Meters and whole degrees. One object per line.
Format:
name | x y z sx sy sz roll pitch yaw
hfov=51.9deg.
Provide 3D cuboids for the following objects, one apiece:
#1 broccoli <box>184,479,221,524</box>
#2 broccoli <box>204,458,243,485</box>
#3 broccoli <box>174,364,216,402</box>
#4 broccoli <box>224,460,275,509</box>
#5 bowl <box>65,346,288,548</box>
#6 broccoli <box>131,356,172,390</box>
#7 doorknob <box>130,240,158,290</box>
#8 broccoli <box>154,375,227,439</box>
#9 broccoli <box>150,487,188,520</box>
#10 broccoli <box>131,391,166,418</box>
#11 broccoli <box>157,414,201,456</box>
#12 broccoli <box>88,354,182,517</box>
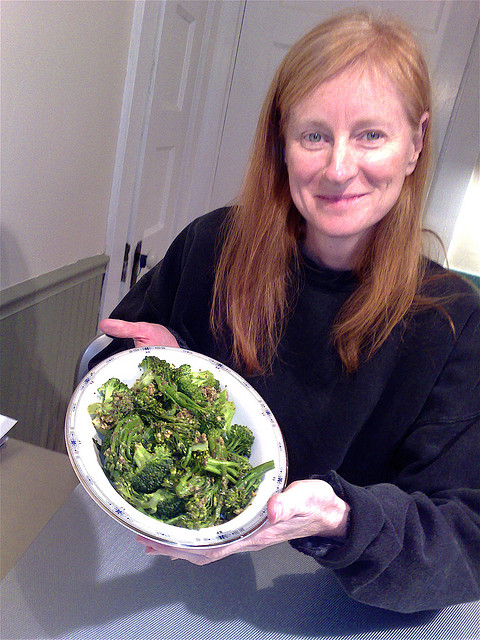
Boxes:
broccoli | -0.052 0.252 0.683 0.022 0.021 0.046 10 33 22
broccoli | -0.022 0.228 0.745 0.049 0.015 0.031 22 42 6
broccoli | -0.083 0.109 0.862 0.058 0.028 0.060 35 32 -19
broccoli | 0.014 0.236 0.736 0.034 0.040 0.088 -15 11 41
bowl | -0.116 0.211 0.784 0.332 0.122 0.356 19 33 -13
broccoli | -0.152 0.089 0.860 0.042 0.036 0.066 33 48 6
doorknob | -0.459 -0.262 2.394 0.064 0.226 0.222 9 27 2
broccoli | -0.084 0.142 0.856 0.113 0.062 0.051 38 6 17
broccoli | -0.102 0.259 0.702 0.040 0.015 0.036 -12 40 -25
broccoli | -0.153 0.140 0.816 0.045 0.033 0.019 -3 17 -2
broccoli | -0.097 0.186 0.798 0.057 0.021 0.060 28 50 -5
broccoli | -0.172 0.178 0.754 0.065 0.122 0.191 6 56 -48
